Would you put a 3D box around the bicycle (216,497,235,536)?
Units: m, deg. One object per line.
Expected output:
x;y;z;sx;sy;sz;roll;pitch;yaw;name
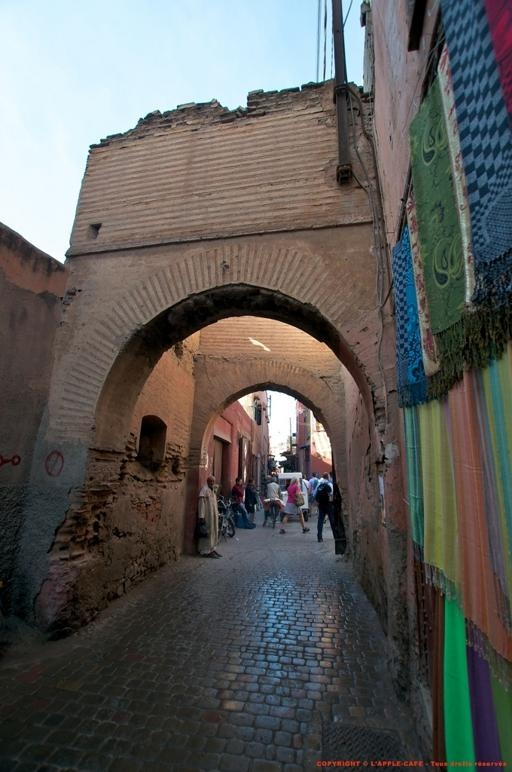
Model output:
-0.659;2.865;8.845;0.279;0.546;0.856;-1;-36;0;bicycle

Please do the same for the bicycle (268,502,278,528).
0.492;3.647;11.513;0.233;0.500;0.658;1;-19;1;bicycle

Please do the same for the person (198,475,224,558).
-0.749;2.143;6.669;0.457;1.260;0.540;5;-8;-30;person

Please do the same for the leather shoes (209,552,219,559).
-0.662;2.684;6.441;0.157;0.087;0.250;3;-12;-8;leather shoes
